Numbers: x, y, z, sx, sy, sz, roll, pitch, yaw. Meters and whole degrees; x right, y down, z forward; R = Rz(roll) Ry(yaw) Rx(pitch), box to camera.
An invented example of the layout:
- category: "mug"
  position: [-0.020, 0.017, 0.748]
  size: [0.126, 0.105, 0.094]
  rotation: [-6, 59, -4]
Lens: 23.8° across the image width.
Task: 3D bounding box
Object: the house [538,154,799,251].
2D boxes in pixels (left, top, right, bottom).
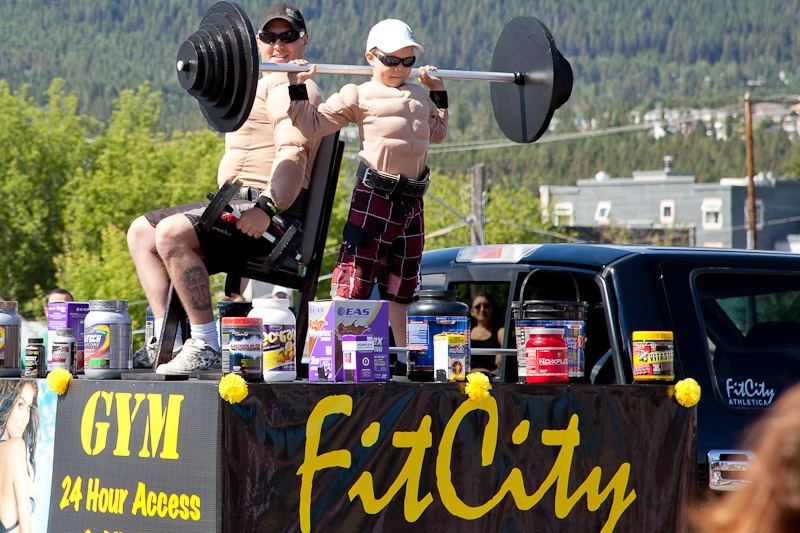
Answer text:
- category: "house"
  position: [31.581, -6.713, 214.841]
  size: [26.978, 9.939, 9.506]
  rotation: [-1, -2, 30]
